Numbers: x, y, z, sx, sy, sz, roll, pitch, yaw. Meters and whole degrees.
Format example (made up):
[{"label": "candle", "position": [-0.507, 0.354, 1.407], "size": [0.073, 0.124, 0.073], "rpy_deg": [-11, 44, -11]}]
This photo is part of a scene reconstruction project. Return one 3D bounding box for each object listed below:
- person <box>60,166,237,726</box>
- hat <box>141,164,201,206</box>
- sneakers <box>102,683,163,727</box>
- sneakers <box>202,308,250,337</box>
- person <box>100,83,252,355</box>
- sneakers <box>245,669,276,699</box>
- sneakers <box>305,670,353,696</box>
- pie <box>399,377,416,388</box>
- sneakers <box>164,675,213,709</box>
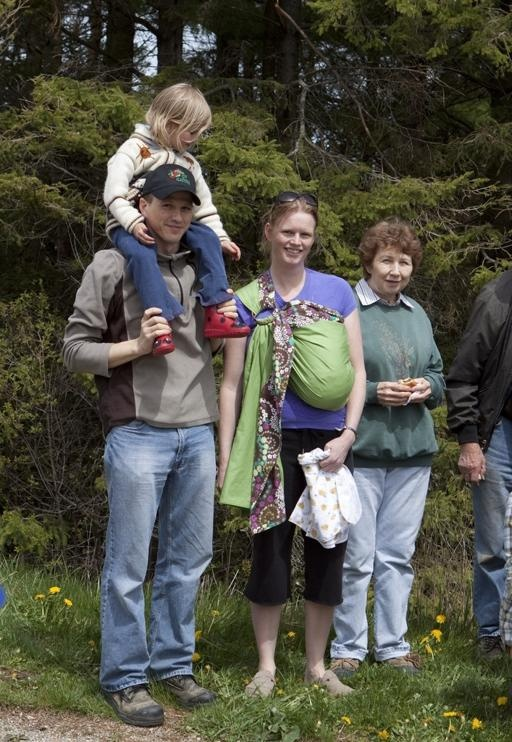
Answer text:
[{"label": "person", "position": [-0.441, 0.276, 3.271], "size": [0.751, 1.644, 0.528], "rpy_deg": [5, 3, -16]}, {"label": "hat", "position": [-0.355, -0.757, 3.243], "size": [0.168, 0.099, 0.208], "rpy_deg": [2, 3, -24]}, {"label": "sneakers", "position": [-0.505, 1.340, 3.212], "size": [0.106, 0.101, 0.270], "rpy_deg": [1, 0, -39]}, {"label": "sneakers", "position": [-0.135, -0.193, 3.290], "size": [0.220, 0.174, 0.090], "rpy_deg": [-3, 9, -1]}, {"label": "person", "position": [-0.411, -0.679, 3.434], "size": [0.647, 1.077, 0.751], "rpy_deg": [6, 14, 28]}, {"label": "sneakers", "position": [0.017, 1.370, 3.433], "size": [0.127, 0.082, 0.146], "rpy_deg": [5, 2, 3]}, {"label": "sneakers", "position": [0.323, 1.393, 3.534], "size": [0.198, 0.071, 0.079], "rpy_deg": [-3, -7, 35]}, {"label": "pie", "position": [0.748, 0.061, 3.924], "size": [0.079, 0.039, 0.140], "rpy_deg": [5, 2, 9]}, {"label": "sneakers", "position": [-0.286, 1.366, 3.406], "size": [0.248, 0.091, 0.095], "rpy_deg": [3, 3, 33]}]
